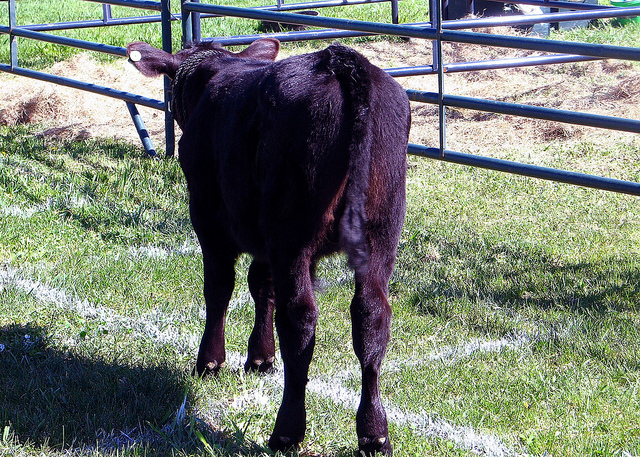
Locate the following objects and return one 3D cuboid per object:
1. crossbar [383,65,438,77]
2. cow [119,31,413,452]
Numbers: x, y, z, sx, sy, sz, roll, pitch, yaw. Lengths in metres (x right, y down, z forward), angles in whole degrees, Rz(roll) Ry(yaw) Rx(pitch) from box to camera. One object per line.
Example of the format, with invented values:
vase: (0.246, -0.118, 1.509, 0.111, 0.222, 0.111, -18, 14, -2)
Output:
crossbar: (0.793, -1.420, 7.010, 0.422, 0.126, 0.258, 3, 18, -5)
cow: (-0.217, -0.018, 4.709, 0.845, 2.179, 1.863, -9, 21, -37)
